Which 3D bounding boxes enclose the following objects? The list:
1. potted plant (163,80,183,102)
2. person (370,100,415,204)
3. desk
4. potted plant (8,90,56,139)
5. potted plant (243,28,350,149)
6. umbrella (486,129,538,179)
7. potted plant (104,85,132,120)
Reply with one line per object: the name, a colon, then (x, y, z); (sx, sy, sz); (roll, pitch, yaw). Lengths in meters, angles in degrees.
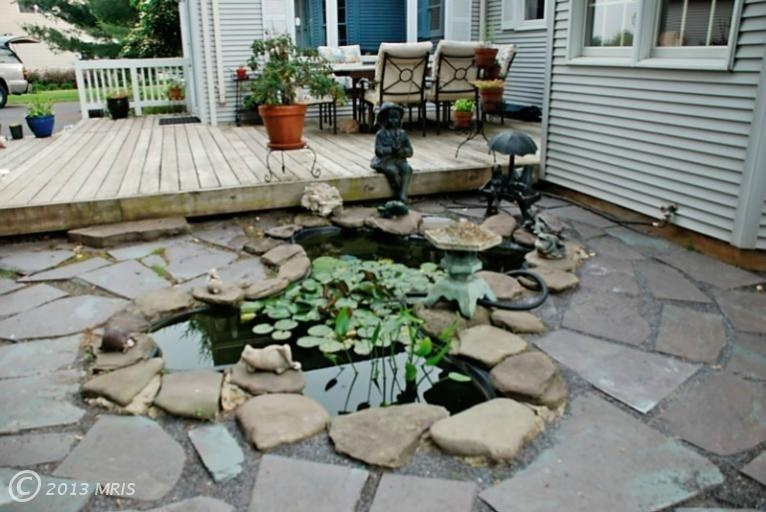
potted plant: (-5.167, -4.109, 11.853); (0.432, 0.484, 0.640); (-10, 25, -20)
person: (0.075, -1.091, 5.045); (0.423, 1.011, 0.267); (5, 25, 13)
desk: (0.117, -2.625, 7.434); (0.888, 1.249, 1.215); (-9, 26, -17)
potted plant: (-5.468, -2.227, 7.678); (0.364, 0.567, 0.602); (-15, 28, -30)
potted plant: (-1.119, -1.760, 5.204); (1.128, 1.093, 0.778); (9, 27, 42)
umbrella: (1.270, -1.038, 4.678); (0.404, 0.407, 0.792); (8, 25, 19)
potted plant: (-5.663, -3.265, 10.205); (0.417, 0.540, 0.412); (1, 23, -9)
